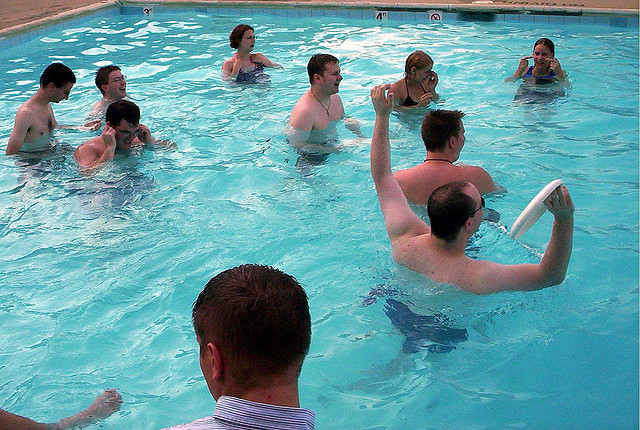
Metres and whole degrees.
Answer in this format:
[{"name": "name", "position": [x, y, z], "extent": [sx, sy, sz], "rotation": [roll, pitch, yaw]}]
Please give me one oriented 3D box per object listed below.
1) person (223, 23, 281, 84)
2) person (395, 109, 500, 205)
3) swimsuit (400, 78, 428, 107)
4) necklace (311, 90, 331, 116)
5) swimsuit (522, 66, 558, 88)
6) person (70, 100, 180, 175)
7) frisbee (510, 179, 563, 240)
[{"name": "person", "position": [-1.445, -3.121, 9.807], "extent": [1.041, 1.035, 0.959], "rotation": [-1, 25, 9]}, {"name": "person", "position": [1.332, -0.610, 5.694], "extent": [1.304, 1.006, 0.792], "rotation": [4, 23, 26]}, {"name": "swimsuit", "position": [1.482, -1.974, 8.190], "extent": [0.429, 0.445, 0.213], "rotation": [-2, -7, 9]}, {"name": "necklace", "position": [-0.016, -1.661, 7.465], "extent": [0.044, 0.415, 0.358], "rotation": [-29, 53, 35]}, {"name": "swimsuit", "position": [3.850, -2.430, 8.956], "extent": [0.569, 0.311, 0.432], "rotation": [7, 26, 25]}, {"name": "person", "position": [-2.789, -1.079, 7.263], "extent": [1.360, 0.705, 0.758], "rotation": [-24, 50, -39]}, {"name": "frisbee", "position": [1.674, -0.033, 3.974], "extent": [0.283, 0.507, 0.184], "rotation": [-18, 29, -23]}]
